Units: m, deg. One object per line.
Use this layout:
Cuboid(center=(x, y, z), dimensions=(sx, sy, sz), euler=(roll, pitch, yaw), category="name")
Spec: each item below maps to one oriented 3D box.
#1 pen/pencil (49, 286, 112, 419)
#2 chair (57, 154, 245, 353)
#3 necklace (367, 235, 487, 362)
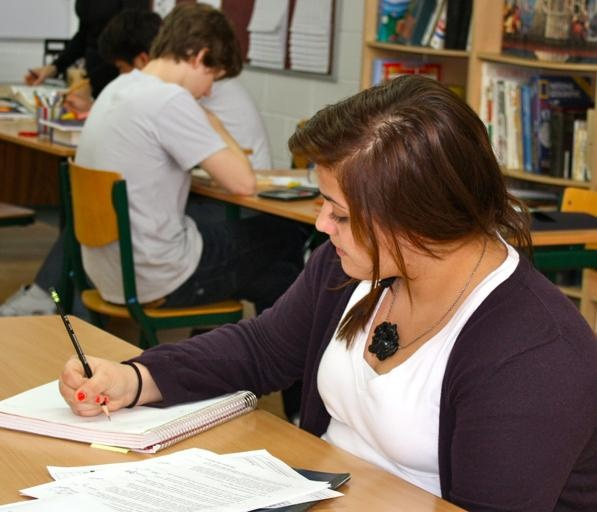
Cuboid(center=(-0.452, 0.188, 1.114), dimensions=(0.022, 0.346, 0.022), euler=(-22, -21, -21), category="pen/pencil")
Cuboid(center=(-0.667, -0.115, 2.451), dimensions=(0.738, 1.217, 0.641), euler=(-8, 12, -36), category="chair")
Cuboid(center=(0.212, 0.104, 0.836), dimensions=(0.057, 0.230, 0.116), euler=(23, 9, -32), category="necklace")
